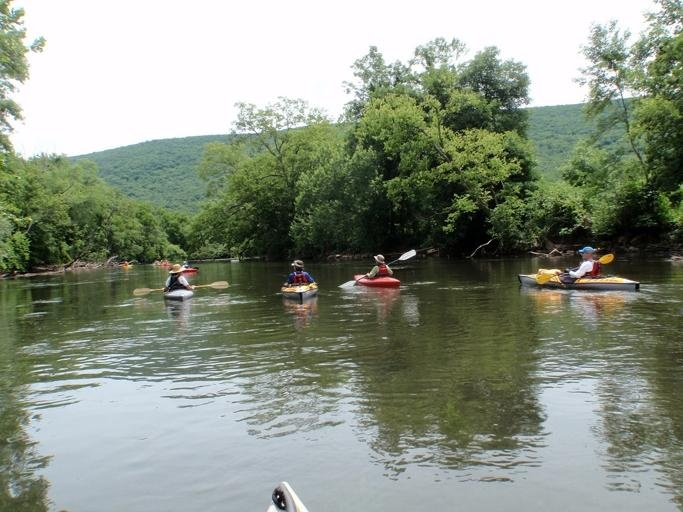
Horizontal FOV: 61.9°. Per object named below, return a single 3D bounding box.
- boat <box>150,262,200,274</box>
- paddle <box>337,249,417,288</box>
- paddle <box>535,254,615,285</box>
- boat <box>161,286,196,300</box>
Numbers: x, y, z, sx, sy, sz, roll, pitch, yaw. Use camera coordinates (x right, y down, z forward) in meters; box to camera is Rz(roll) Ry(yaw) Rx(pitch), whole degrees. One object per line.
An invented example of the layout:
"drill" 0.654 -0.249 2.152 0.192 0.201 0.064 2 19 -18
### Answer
"boat" -16.251 1.130 55.123 7.000 0.758 1.128 2 39 3
"paddle" 2.267 0.691 34.643 6.480 0.696 0.379 -20 -16 1
"paddle" 8.247 0.579 21.557 3.888 0.929 0.824 -9 -8 38
"boat" -6.461 1.543 22.801 0.892 0.386 1.322 -7 8 -34
